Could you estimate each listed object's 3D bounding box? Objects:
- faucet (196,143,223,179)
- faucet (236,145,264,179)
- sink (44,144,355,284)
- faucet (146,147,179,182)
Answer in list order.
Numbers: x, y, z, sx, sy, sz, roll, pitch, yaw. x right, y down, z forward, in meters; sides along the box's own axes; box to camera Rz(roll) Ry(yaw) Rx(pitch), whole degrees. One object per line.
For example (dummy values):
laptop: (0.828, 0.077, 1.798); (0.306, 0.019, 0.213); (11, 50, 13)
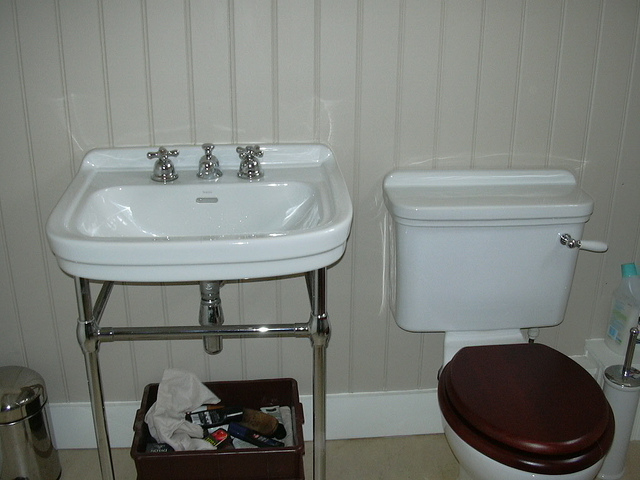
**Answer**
faucet: (-0.326, -0.229, 1.543); (0.080, 0.104, 0.081); (-7, 6, -26)
faucet: (-0.211, -0.231, 1.547); (0.082, 0.094, 0.085); (2, 16, -21)
sink: (-0.317, -0.057, 1.431); (0.782, 0.348, 0.520); (-4, 19, -2)
faucet: (-0.459, -0.222, 1.530); (0.088, 0.100, 0.090); (-7, 4, -26)
